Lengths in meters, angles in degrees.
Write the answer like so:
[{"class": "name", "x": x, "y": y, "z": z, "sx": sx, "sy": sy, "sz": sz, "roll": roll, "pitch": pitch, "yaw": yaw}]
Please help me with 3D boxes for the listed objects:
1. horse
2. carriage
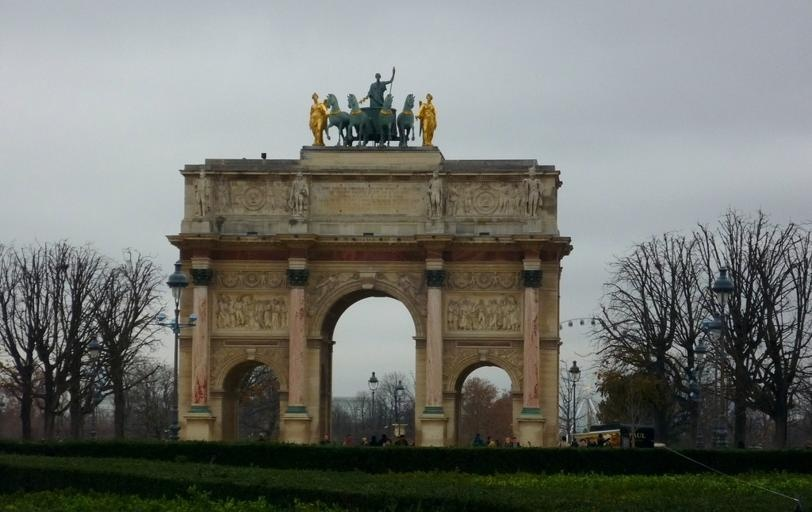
[{"class": "horse", "x": -2.378, "y": -9.037, "z": 137.212, "sx": 5.482, "sy": 3.645, "sz": 1.182, "roll": 0, "pitch": -11, "yaw": -2}, {"class": "carriage", "x": -2.087, "y": -9.829, "z": 138.683, "sx": 6.923, "sy": 4.421, "sz": 7.355, "roll": 0, "pitch": 5, "yaw": -11}]
